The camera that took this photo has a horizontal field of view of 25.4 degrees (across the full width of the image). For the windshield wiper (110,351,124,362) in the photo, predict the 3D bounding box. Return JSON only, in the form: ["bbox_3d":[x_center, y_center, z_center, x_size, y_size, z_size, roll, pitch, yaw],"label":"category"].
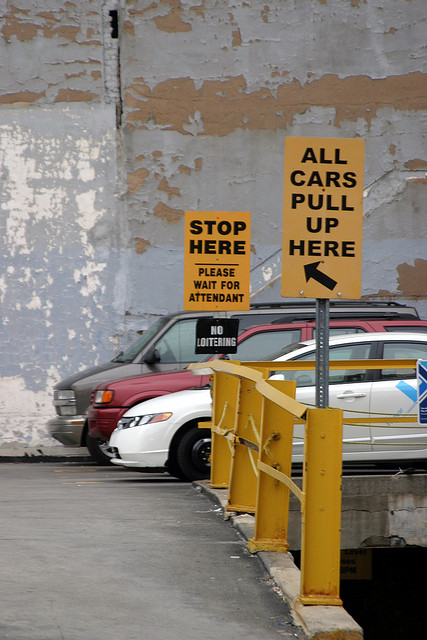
[{"bbox_3d":[-1.474,0.533,14.478,0.303,0.069,0.071,-27,6,-8],"label":"windshield wiper"}]

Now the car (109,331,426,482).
[{"bbox_3d":[0.647,0.805,9.283,3.293,1.055,1.400,1,-4,2],"label":"car"}]

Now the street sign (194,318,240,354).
[{"bbox_3d":[0.033,0.140,9.138,0.463,0.289,0.056,0,-7,-7],"label":"street sign"}]

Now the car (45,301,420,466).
[{"bbox_3d":[-0.095,0.734,12.868,5.376,1.585,2.153,1,-1,-4],"label":"car"}]
